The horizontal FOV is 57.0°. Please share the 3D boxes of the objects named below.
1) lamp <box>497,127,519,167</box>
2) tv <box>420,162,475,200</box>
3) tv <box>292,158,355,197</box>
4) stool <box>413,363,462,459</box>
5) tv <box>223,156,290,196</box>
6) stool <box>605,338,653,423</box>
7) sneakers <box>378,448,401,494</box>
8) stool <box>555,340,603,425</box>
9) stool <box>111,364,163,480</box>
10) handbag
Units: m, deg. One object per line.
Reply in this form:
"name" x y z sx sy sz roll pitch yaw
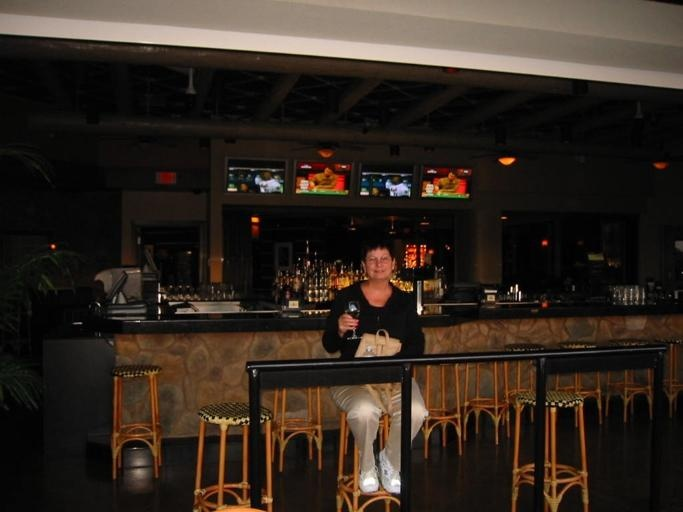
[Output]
"lamp" 2.268 -1.525 8.795 0.387 0.524 0.122 4 20 26
"tv" 1.695 -1.203 10.215 0.972 0.576 0.032 7 28 42
"tv" -0.272 -1.210 9.741 0.867 0.505 0.272 0 -2 -5
"stool" 0.954 1.386 5.942 0.404 0.932 0.379 0 -10 -1
"tv" -1.290 -1.221 9.497 0.878 0.493 0.121 1 -2 -12
"stool" 3.260 1.407 6.868 0.432 0.689 0.432 0 -10 6
"sneakers" 0.320 1.498 4.385 0.115 0.302 0.131 -7 -18 -15
"stool" 2.615 1.446 6.722 0.345 0.579 0.370 -5 -20 32
"stool" -1.753 1.399 5.420 0.419 0.913 0.522 1 -2 -19
"handbag" 0.265 0.793 4.442 0.385 0.526 0.171 0 9 -7
